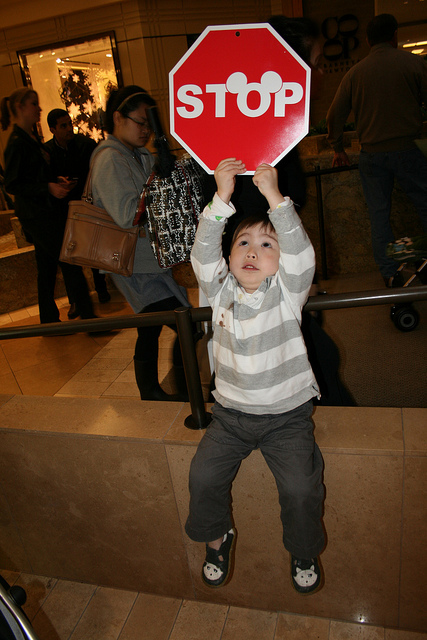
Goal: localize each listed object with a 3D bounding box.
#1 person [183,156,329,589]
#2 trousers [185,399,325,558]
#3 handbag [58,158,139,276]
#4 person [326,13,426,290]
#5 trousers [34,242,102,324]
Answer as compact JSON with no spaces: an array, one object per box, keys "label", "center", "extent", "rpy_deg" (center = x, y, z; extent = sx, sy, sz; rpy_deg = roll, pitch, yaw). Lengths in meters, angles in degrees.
[{"label":"person","center":[0.074,0.155,1.136],"extent":[0.396,1.047,0.385],"rpy_deg":[-5,26,14]},{"label":"trousers","center":[0.104,0.355,1.201],"extent":[0.362,0.443,0.264],"rpy_deg":[0,15,10]},{"label":"handbag","center":[-0.451,-0.434,1.823],"extent":[0.303,0.460,0.088],"rpy_deg":[10,-1,-33]},{"label":"person","center":[1.162,-1.140,3.051],"extent":[0.472,1.600,1.045],"rpy_deg":[-12,25,-1]},{"label":"trousers","center":[-1.253,-0.268,3.728],"extent":[0.452,0.721,0.364],"rpy_deg":[-10,25,2]}]
